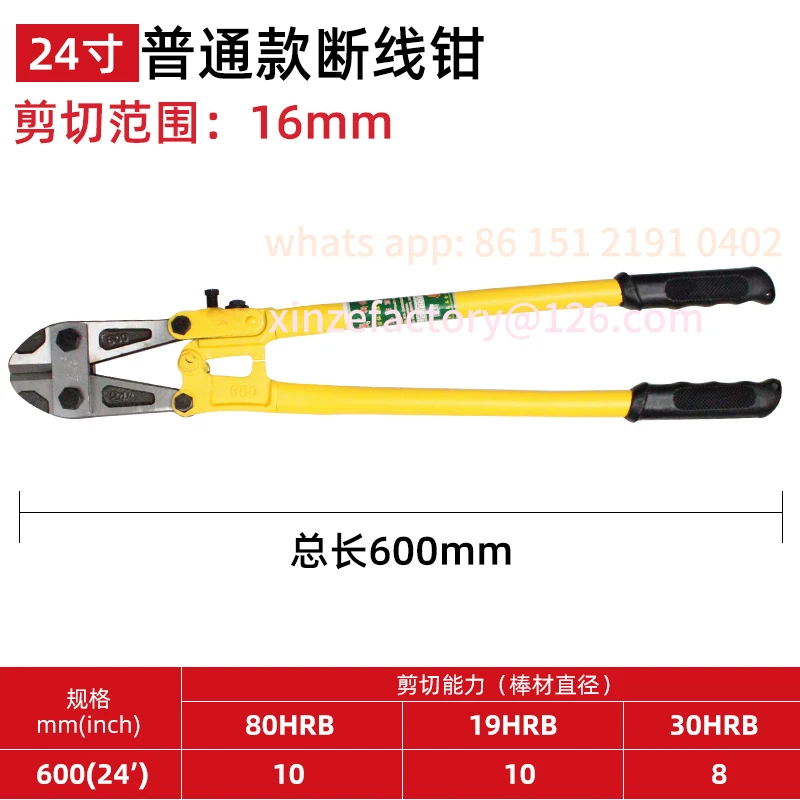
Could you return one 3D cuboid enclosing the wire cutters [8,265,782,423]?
[{"bbox_3d":[-0.070,-0.232,3.967,3.025,0.627,0.338,1,3,6],"label":"wire cutters"}]
